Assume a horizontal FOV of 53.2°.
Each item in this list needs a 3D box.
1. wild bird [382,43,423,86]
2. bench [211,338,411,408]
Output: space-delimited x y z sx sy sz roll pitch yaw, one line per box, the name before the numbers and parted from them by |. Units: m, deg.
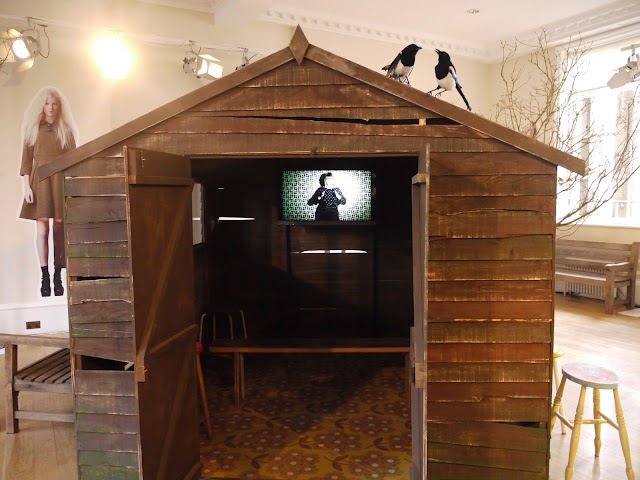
wild bird | 0.948 -2.079 7.511 0.245 0.472 0.674 5 12 -25
bench | -0.162 1.512 7.433 2.224 0.704 0.457 1 1 -7
